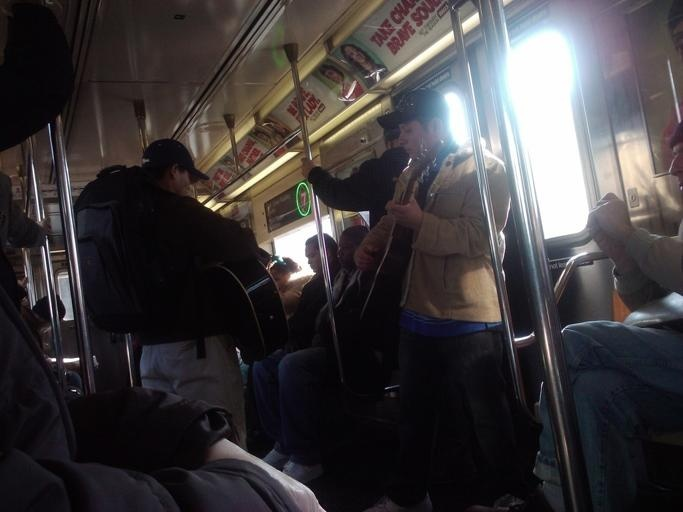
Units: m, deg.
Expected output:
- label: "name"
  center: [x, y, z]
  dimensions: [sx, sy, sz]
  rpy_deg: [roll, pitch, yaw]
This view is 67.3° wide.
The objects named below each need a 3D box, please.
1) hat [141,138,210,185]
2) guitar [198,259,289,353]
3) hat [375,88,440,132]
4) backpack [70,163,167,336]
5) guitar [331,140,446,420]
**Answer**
- label: "hat"
  center: [-0.884, -0.504, 2.668]
  dimensions: [0.239, 0.221, 0.380]
  rpy_deg: [-3, 4, 25]
- label: "guitar"
  center: [-0.474, 0.241, 2.361]
  dimensions: [0.139, 0.402, 0.300]
  rpy_deg: [-35, -6, -47]
- label: "hat"
  center: [0.314, -0.708, 2.463]
  dimensions: [0.304, 0.174, 0.201]
  rpy_deg: [-4, 17, 11]
- label: "backpack"
  center: [-1.032, -0.040, 2.468]
  dimensions: [0.487, 0.781, 0.424]
  rpy_deg: [-9, -2, 39]
- label: "guitar"
  center: [0.142, 0.302, 2.626]
  dimensions: [0.244, 1.299, 0.648]
  rpy_deg: [-8, 34, -28]
